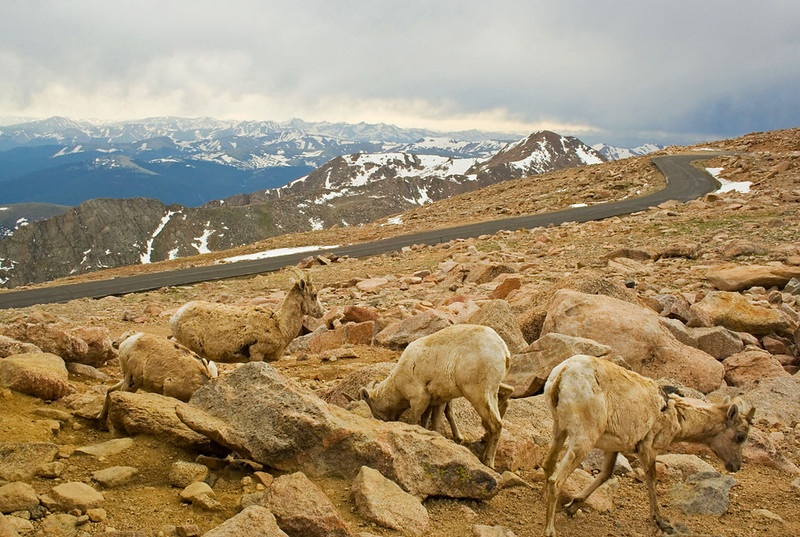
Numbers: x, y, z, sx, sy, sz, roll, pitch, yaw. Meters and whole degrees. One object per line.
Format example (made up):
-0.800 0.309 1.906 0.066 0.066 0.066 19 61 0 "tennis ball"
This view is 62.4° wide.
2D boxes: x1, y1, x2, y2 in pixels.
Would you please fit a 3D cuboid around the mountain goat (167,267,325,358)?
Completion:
-3.118 1.177 13.129 3.367 2.211 1.137 2 2 -31 "mountain goat"
